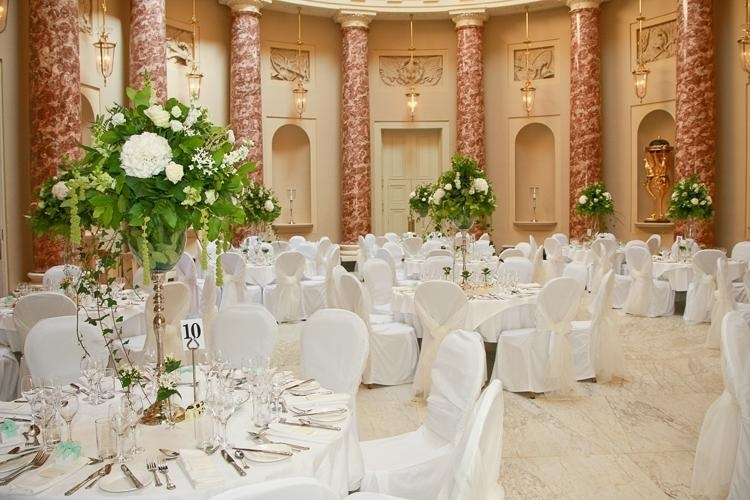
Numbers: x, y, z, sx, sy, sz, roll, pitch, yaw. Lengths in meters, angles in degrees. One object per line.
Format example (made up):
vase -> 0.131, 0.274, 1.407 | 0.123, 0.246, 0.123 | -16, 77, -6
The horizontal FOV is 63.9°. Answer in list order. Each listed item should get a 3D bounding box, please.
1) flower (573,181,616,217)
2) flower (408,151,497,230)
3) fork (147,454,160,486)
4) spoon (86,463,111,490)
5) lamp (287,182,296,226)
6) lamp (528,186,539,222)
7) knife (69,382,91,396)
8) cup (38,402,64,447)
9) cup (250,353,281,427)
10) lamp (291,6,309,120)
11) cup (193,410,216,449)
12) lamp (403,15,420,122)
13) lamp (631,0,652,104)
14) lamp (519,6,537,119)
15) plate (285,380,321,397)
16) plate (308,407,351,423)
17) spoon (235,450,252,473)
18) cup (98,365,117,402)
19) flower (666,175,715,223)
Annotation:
flower -> 4.622, -0.898, 12.664 | 0.560, 0.758, 0.637 | 7, -14, 4
flower -> 0.955, -0.592, 7.505 | 0.832, 1.181, 0.940 | -1, 11, -15
fork -> -1.327, 1.330, 3.620 | 0.047, 0.046, 0.302 | -1, 23, -23
spoon -> -1.641, 1.335, 3.589 | 0.042, 0.030, 0.195 | -10, 20, 14
lamp -> -2.107, -1.157, 15.328 | 0.183, 0.839, 0.216 | -1, 11, -6
lamp -> 4.065, -1.205, 15.495 | 0.230, 0.851, 0.303 | 4, 12, 15
knife -> -2.170, 1.024, 4.441 | 0.045, 0.035, 0.343 | -7, 10, -33
cup -> -2.064, 1.107, 3.838 | 0.121, 0.264, 0.127 | 1, 11, 0
cup -> -0.759, 0.943, 4.073 | 0.197, 0.400, 0.343 | -2, 11, -11
lamp -> -1.830, -4.459, 14.541 | 0.376, 2.537, 1.045 | -1, 11, -6
cup -> -1.090, 1.198, 3.853 | 0.149, 0.296, 0.168 | 2, 37, -17
lamp -> 0.961, -4.583, 15.309 | 0.353, 2.500, 0.758 | 1, 11, 3
lamp -> 5.822, -4.424, 13.157 | 0.376, 2.230, 1.472 | 5, 12, 23
lamp -> 3.747, -4.555, 14.668 | 0.355, 2.526, 1.177 | 3, 11, 13
plate -> -0.535, 1.010, 4.415 | 0.259, 0.031, 0.208 | -5, 12, -28
plate -> -0.317, 1.114, 4.099 | 0.275, 0.041, 0.142 | -1, 11, -9
spoon -> -0.814, 1.284, 3.704 | 0.044, 0.033, 0.176 | -12, 17, -13
cup -> -1.999, 0.987, 4.474 | 0.140, 0.181, 0.144 | -4, -2, 0
flower -> 5.479, -0.764, 10.632 | 0.705, 0.946, 0.832 | 0, -6, -20
